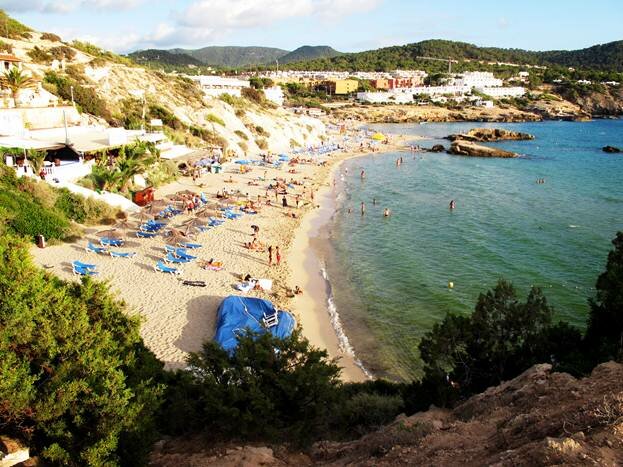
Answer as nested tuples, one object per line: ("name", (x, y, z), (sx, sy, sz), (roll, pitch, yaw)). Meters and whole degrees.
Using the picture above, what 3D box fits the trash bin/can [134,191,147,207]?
("trash bin/can", (-12.767, -2.592, 38.506), (0.882, 1.038, 1.165), (5, 17, 13))
